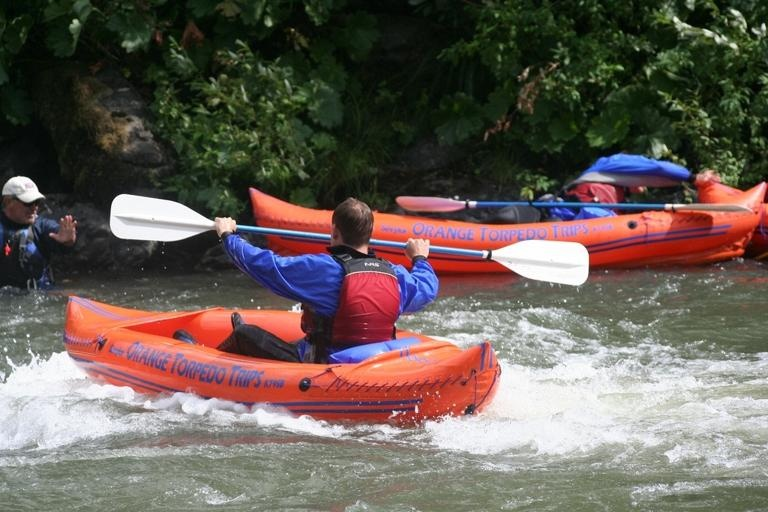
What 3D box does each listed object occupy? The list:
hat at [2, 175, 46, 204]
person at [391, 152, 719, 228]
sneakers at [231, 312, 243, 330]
[{"bbox_3d":[-4.139,-0.775,15.515,0.453,0.224,0.298,-1,5,24],"label":"hat"},{"bbox_3d":[2.360,-0.927,17.239,3.260,0.461,1.471,-3,-1,2],"label":"person"},{"bbox_3d":[-1.517,0.720,14.180,0.096,0.100,0.252,0,43,-1],"label":"sneakers"}]
